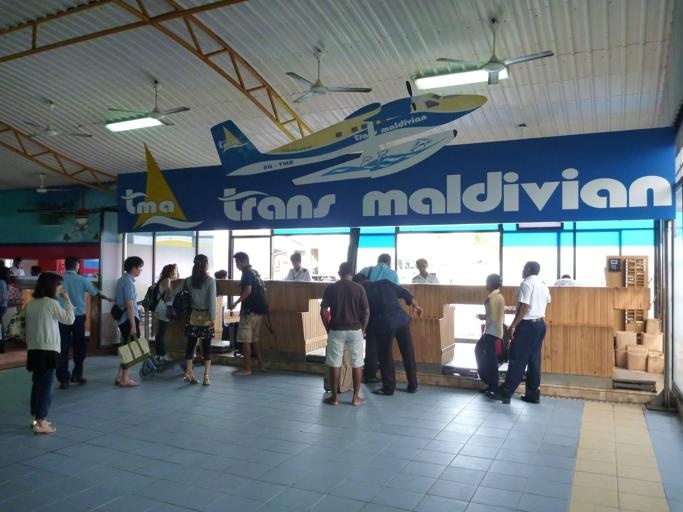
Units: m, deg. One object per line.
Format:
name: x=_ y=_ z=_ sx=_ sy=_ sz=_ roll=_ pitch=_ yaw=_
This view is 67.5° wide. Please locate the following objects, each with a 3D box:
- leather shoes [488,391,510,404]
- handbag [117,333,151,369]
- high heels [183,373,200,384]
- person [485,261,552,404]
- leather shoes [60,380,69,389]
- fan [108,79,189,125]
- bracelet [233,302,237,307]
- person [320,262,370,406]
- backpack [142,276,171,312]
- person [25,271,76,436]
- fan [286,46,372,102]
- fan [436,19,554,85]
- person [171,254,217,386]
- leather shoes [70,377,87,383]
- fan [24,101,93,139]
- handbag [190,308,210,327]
leather shoes: x=2.103 y=1.896 z=6.873 sx=0.111 sy=0.144 sz=0.299 roll=1 pitch=4 yaw=-43
handbag: x=-3.056 y=1.427 z=7.558 sx=0.199 sy=0.419 sz=0.543 roll=2 pitch=4 yaw=26
high heels: x=-2.250 y=1.867 z=7.696 sx=0.264 sy=0.108 sz=0.099 roll=-4 pitch=-8 yaw=41
person: x=2.434 y=1.024 z=6.800 sx=0.674 sy=1.901 sz=0.342 roll=-1 pitch=3 yaw=-17
leather shoes: x=-3.980 y=1.876 z=7.366 sx=0.073 sy=0.085 sz=0.113 roll=7 pitch=-15 yaw=-32
fan: x=-3.420 y=-2.542 z=9.047 sx=0.960 sy=0.484 sz=1.138 roll=-6 pitch=-7 yaw=16
bracelet: x=-1.657 y=0.768 z=7.973 sx=0.088 sy=0.086 sz=0.023 roll=-2 pitch=44 yaw=-44
person: x=0.048 y=1.027 z=6.705 sx=0.606 sy=1.868 sz=0.293 roll=0 pitch=3 yaw=-1
backpack: x=-3.165 y=0.687 z=8.643 sx=0.209 sy=0.501 sz=0.781 roll=-2 pitch=5 yaw=-36
person: x=-3.215 y=1.079 z=5.654 sx=0.468 sy=1.781 sz=0.279 roll=-2 pitch=4 yaw=-32
fan: x=-0.285 y=-2.849 z=8.136 sx=1.086 sy=0.787 sz=1.217 roll=0 pitch=4 yaw=-6
fan: x=2.214 y=-2.808 z=6.962 sx=1.219 sy=0.836 sz=1.020 roll=2 pitch=4 yaw=22
person: x=-2.144 y=0.957 z=7.658 sx=0.504 sy=1.950 sz=0.757 roll=-1 pitch=4 yaw=-18
leather shoes: x=-3.895 y=1.868 z=7.608 sx=0.233 sy=0.107 sz=0.087 roll=5 pitch=-1 yaw=-34
fan: x=-5.534 y=-2.506 z=9.954 sx=0.927 sy=0.391 sz=0.873 roll=0 pitch=6 yaw=35
handbag: x=-2.021 y=0.913 z=7.357 sx=0.342 sy=0.249 sz=0.207 roll=0 pitch=-11 yaw=1
